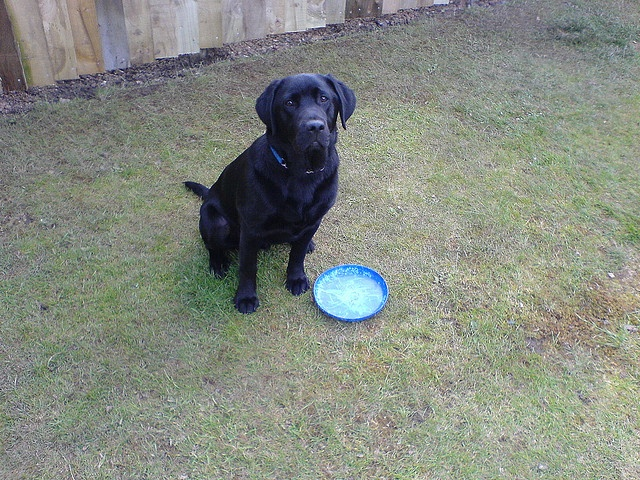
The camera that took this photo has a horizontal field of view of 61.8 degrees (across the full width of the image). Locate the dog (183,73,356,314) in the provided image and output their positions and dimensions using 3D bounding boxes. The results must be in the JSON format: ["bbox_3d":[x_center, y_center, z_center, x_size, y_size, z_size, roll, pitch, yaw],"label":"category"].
[{"bbox_3d":[-0.346,-0.368,4.218,1.188,1.679,0.870,0,33,-6],"label":"dog"}]
